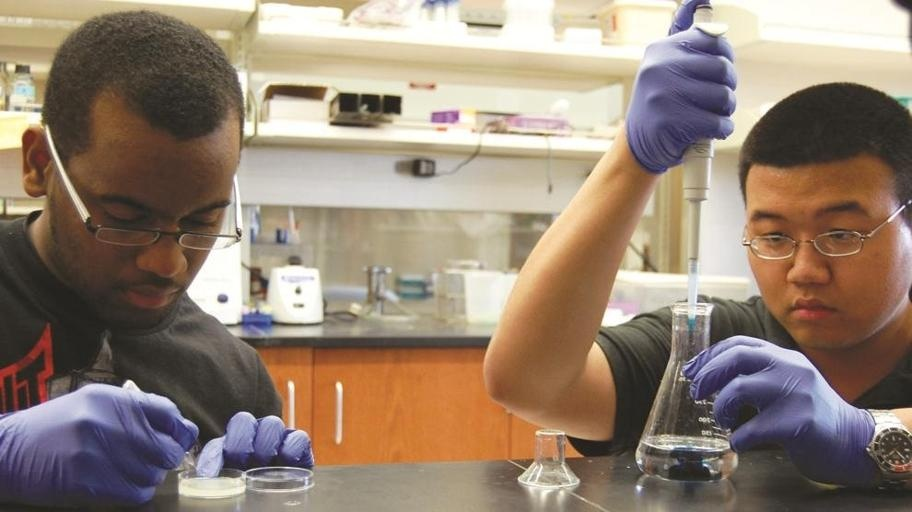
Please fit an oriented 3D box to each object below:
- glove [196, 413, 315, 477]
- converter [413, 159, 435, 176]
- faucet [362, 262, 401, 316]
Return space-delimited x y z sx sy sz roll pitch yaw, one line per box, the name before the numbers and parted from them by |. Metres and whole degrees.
glove | -0.581 0.528 3.217 0.325 0.137 0.159 -6 14 -25
converter | -0.151 -0.417 5.546 0.122 0.092 0.052 -2 14 -8
faucet | -0.354 0.159 5.443 0.152 0.244 0.259 -2 13 -4
